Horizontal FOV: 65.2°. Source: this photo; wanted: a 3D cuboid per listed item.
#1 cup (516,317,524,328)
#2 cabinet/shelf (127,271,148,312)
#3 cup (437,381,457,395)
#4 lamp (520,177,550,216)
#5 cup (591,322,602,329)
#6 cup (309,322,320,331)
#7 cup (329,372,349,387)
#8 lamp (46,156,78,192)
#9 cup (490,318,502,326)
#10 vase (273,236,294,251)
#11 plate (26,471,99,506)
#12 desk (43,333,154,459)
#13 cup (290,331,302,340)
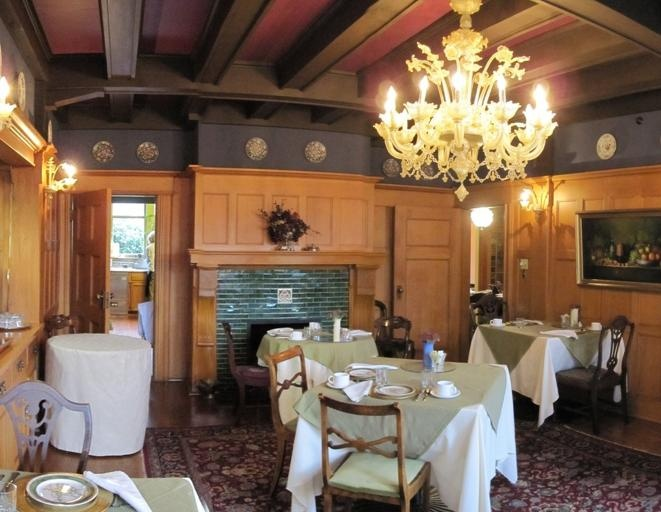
[{"bbox_3d":[2.273,0.804,6.218,0.087,0.067,0.083,-1,2,0],"label":"cup"},{"bbox_3d":[-4.798,0.939,13.192,0.537,0.992,0.486,1,-6,28],"label":"cabinet/shelf"},{"bbox_3d":[0.812,0.925,3.619,0.083,0.082,0.128,-1,5,-17],"label":"cup"},{"bbox_3d":[2.863,-0.813,7.254,0.535,0.523,0.381,1,5,-12],"label":"lamp"},{"bbox_3d":[3.125,0.836,6.097,0.092,0.077,0.115,1,-10,4],"label":"cup"},{"bbox_3d":[-0.180,0.778,5.676,0.084,0.083,0.084,0,-4,0],"label":"cup"},{"bbox_3d":[0.062,0.908,3.798,0.126,0.080,0.094,-2,-2,-12],"label":"cup"},{"bbox_3d":[-2.953,-0.876,5.669,0.328,0.374,0.265,3,4,-8],"label":"lamp"},{"bbox_3d":[2.004,0.811,6.292,0.099,0.070,0.143,4,-9,-30],"label":"cup"},{"bbox_3d":[-0.608,-0.169,6.828,0.189,0.200,0.205,-2,5,-26],"label":"vase"},{"bbox_3d":[-1.215,1.057,2.339,0.314,0.075,0.255,0,-1,-11],"label":"plate"},{"bbox_3d":[-2.081,1.312,4.905,0.861,0.898,0.916,4,2,18],"label":"desk"},{"bbox_3d":[-0.356,0.850,5.477,0.089,0.063,0.069,-1,1,-10],"label":"cup"}]
